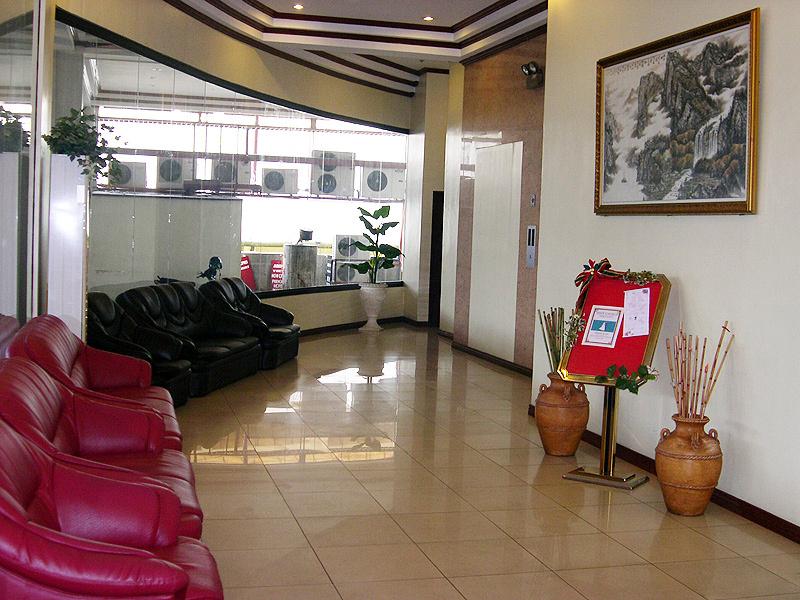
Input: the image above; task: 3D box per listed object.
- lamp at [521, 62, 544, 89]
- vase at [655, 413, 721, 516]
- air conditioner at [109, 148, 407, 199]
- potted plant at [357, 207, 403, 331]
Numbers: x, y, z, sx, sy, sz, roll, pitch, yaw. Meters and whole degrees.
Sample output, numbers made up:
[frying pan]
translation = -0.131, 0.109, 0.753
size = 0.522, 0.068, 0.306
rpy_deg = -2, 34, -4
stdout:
[lamp]
translation = 1.826, -3.058, 8.160
size = 0.273, 0.392, 0.147
rpy_deg = 5, 7, 33
[vase]
translation = 2.018, 1.162, 4.224
size = 0.405, 0.698, 0.269
rpy_deg = 6, 10, 27
[air conditioner]
translation = -1.897, -1.835, 10.057
size = 5.364, 0.911, 1.085
rpy_deg = -6, 19, -35
[potted plant]
translation = -0.473, -0.686, 11.812
size = 0.819, 2.379, 1.089
rpy_deg = 0, 9, -5
